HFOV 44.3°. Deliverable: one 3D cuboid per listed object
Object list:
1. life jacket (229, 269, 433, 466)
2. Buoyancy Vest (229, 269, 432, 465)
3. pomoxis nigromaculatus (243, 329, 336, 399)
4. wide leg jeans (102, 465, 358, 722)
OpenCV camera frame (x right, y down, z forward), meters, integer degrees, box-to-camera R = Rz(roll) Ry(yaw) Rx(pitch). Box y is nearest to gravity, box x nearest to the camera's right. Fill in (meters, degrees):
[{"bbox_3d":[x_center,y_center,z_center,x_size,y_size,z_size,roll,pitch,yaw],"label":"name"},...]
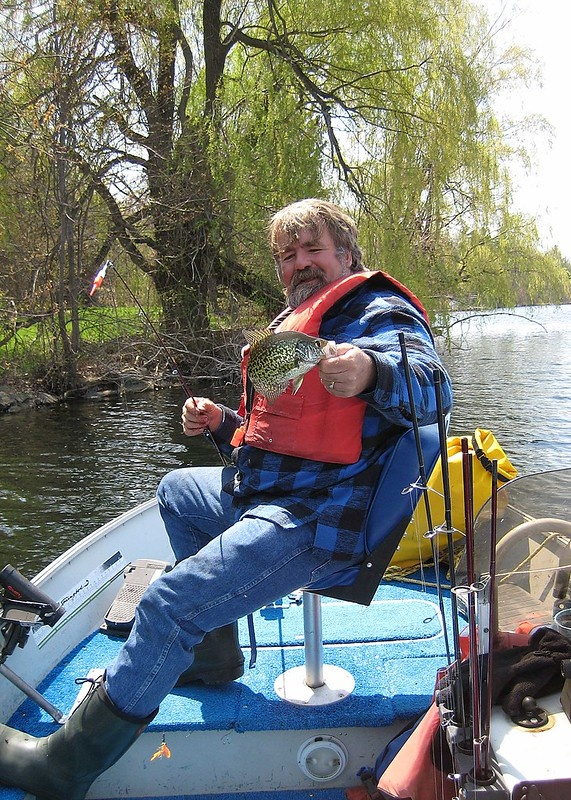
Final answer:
[{"bbox_3d":[0.066,-0.115,2.265,0.500,0.579,0.651,10,9,40],"label":"life jacket"},{"bbox_3d":[0.083,-0.090,2.158,0.342,0.513,0.505,11,0,-42],"label":"Buoyancy Vest"},{"bbox_3d":[-0.014,-0.084,1.631,0.136,0.157,0.292,-7,7,-37],"label":"pomoxis nigromaculatus"},{"bbox_3d":[-0.106,0.525,2.168,0.684,0.801,0.593,27,24,-26],"label":"wide leg jeans"}]
